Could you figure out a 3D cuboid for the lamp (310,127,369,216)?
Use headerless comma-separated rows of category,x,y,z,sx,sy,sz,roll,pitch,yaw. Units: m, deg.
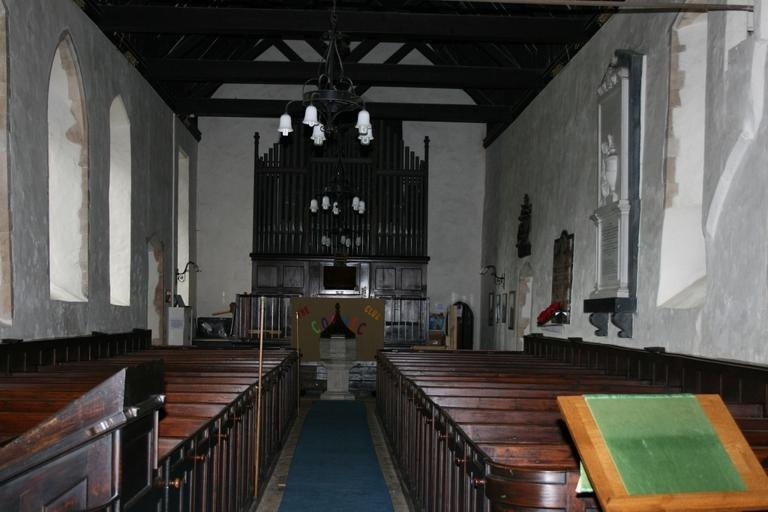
lamp,-0.975,-1.867,17.390,1.723,2.037,1.811,2,-3,-13

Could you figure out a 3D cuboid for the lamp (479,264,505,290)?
lamp,2.628,0.455,18.250,0.488,0.764,0.363,-1,-4,-11

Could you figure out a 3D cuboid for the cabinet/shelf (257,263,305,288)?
cabinet/shelf,-2.581,0.473,18.716,1.202,0.576,0.154,-2,-3,-5

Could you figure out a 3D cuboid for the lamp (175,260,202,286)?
lamp,-4.821,0.350,18.663,0.564,0.881,0.335,0,0,1

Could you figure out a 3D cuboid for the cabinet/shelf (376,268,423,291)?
cabinet/shelf,0.363,0.550,18.792,1.185,0.566,0.187,-3,-4,3

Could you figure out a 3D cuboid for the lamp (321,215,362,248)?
lamp,-1.036,-0.593,18.872,0.667,0.679,0.329,2,-16,-7
